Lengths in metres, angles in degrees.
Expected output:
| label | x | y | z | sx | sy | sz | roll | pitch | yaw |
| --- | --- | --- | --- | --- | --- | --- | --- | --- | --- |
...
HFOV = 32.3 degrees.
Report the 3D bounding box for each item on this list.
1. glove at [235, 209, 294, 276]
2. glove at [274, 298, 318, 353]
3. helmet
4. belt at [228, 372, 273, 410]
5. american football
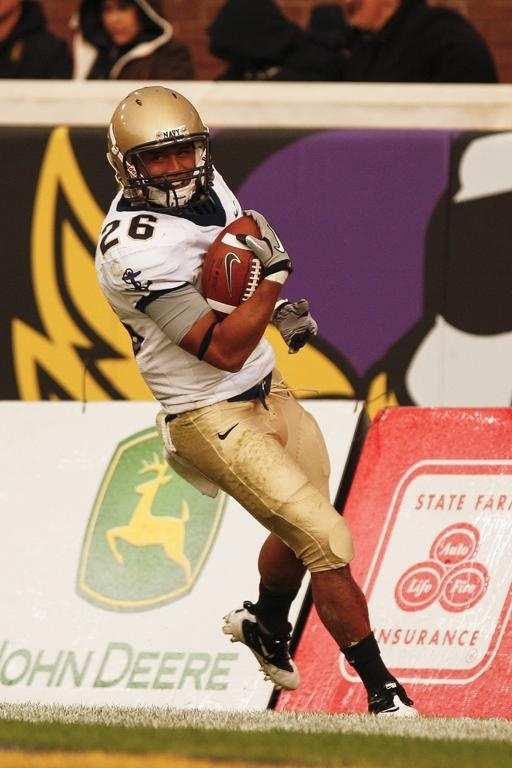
| label | x | y | z | sx | sy | sz | roll | pitch | yaw |
| --- | --- | --- | --- | --- | --- | --- | --- | --- | --- |
| glove | -0.009 | -0.303 | 2.021 | 0.070 | 0.128 | 0.151 | -35 | 69 | 18 |
| glove | 0.110 | -0.153 | 2.339 | 0.114 | 0.075 | 0.141 | -25 | 56 | 17 |
| helmet | -0.231 | -0.553 | 2.106 | 0.254 | 0.219 | 0.276 | -13 | 42 | -15 |
| belt | -0.001 | 0.022 | 2.133 | 0.097 | 0.055 | 0.082 | -27 | 4 | 22 |
| american football | -0.057 | -0.253 | 1.979 | 0.143 | 0.145 | 0.190 | 9 | 86 | 37 |
